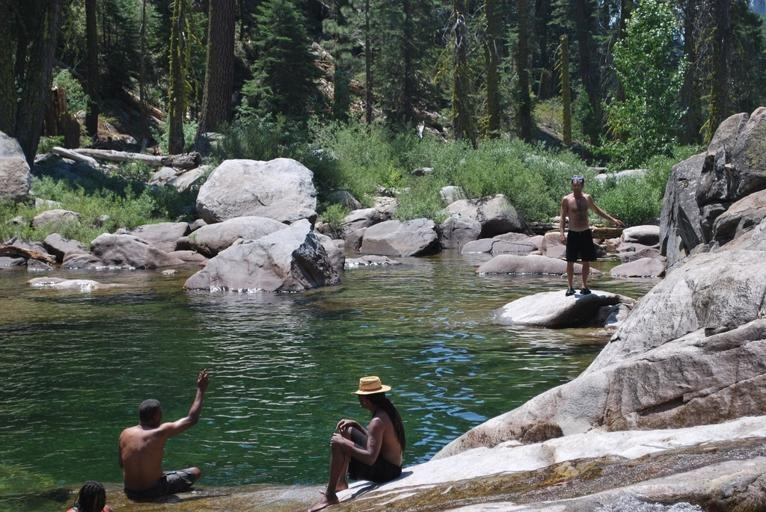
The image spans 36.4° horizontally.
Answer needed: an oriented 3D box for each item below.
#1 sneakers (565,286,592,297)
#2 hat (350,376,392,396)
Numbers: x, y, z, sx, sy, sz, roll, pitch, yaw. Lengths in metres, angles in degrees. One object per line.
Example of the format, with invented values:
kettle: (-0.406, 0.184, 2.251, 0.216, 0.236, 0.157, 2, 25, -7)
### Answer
sneakers: (5.272, 0.962, 31.537, 0.516, 0.185, 0.286, -2, 4, -11)
hat: (-0.322, 2.893, 25.545, 0.592, 0.228, 0.577, -4, 3, 34)
